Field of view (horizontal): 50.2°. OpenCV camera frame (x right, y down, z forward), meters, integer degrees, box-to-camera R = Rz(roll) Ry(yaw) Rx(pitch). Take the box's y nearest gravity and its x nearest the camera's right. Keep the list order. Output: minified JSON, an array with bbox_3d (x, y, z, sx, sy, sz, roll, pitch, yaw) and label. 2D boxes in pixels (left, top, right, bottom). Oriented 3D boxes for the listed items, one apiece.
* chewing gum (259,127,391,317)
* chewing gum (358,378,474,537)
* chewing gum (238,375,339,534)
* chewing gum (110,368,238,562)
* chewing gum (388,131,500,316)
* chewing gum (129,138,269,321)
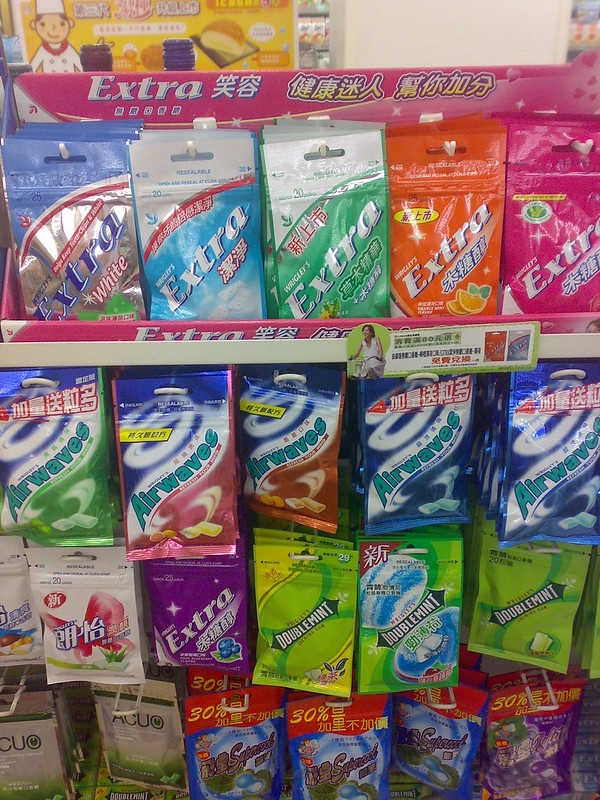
[{"bbox_3d":[0.043,-0.361,1.307,0.273,0.357,0.184,-8,34,-12],"label":"chewing gum"},{"bbox_3d":[0.233,0.108,1.300,0.329,0.421,0.054,-5,23,-8],"label":"chewing gum"},{"bbox_3d":[-0.015,0.103,1.304,0.221,0.343,0.070,0,23,13],"label":"chewing gum"},{"bbox_3d":[-0.232,0.126,1.213,0.241,0.362,0.154,-8,31,-13],"label":"chewing gum"},{"bbox_3d":[0.283,-0.339,1.256,0.221,0.334,0.158,1,23,15],"label":"chewing gum"},{"bbox_3d":[-0.199,-0.333,1.250,0.274,0.360,0.146,-4,27,-12],"label":"chewing gum"}]
